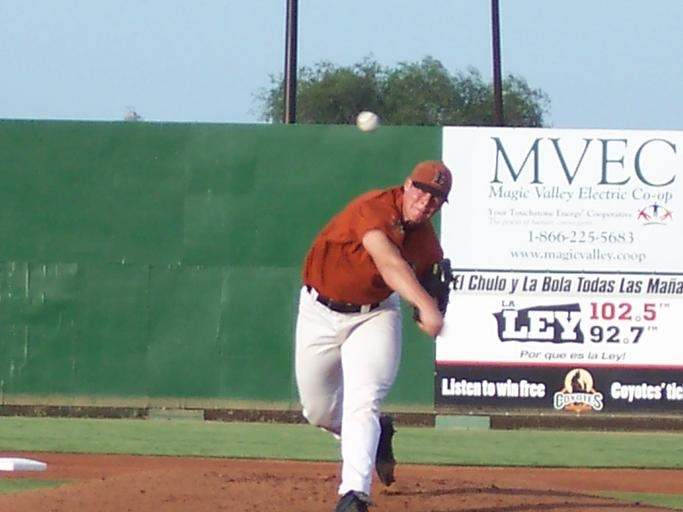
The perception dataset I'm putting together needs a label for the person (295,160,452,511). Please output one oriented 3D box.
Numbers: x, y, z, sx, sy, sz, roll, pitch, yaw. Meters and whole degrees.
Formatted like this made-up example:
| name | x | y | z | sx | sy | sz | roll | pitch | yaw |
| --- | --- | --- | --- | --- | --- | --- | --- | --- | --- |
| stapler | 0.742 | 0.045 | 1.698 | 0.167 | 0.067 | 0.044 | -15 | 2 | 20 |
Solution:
| name | x | y | z | sx | sy | sz | roll | pitch | yaw |
| --- | --- | --- | --- | --- | --- | --- | --- | --- | --- |
| person | 0.236 | 0.672 | 14.307 | 1.398 | 3.020 | 0.884 | 1 | -1 | 17 |
